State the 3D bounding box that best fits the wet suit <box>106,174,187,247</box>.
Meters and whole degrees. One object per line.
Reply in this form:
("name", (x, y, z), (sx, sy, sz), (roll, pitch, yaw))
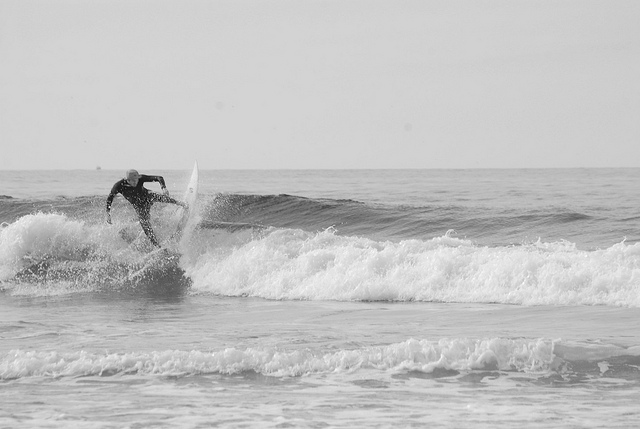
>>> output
("wet suit", (-3.548, -0.148, 22.476), (0.557, 1.073, 1.854), (43, -2, 42))
